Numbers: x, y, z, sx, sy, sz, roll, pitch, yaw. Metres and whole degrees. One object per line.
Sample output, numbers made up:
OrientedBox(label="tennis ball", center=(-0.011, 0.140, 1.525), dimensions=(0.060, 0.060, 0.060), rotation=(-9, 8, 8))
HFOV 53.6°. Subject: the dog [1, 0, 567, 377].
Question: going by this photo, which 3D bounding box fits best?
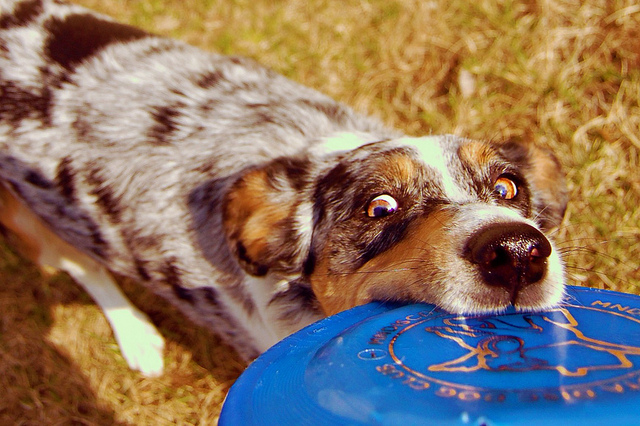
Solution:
OrientedBox(label="dog", center=(-0.628, 0.019, 4.765), dimensions=(3.957, 2.153, 1.833), rotation=(18, 52, 17))
